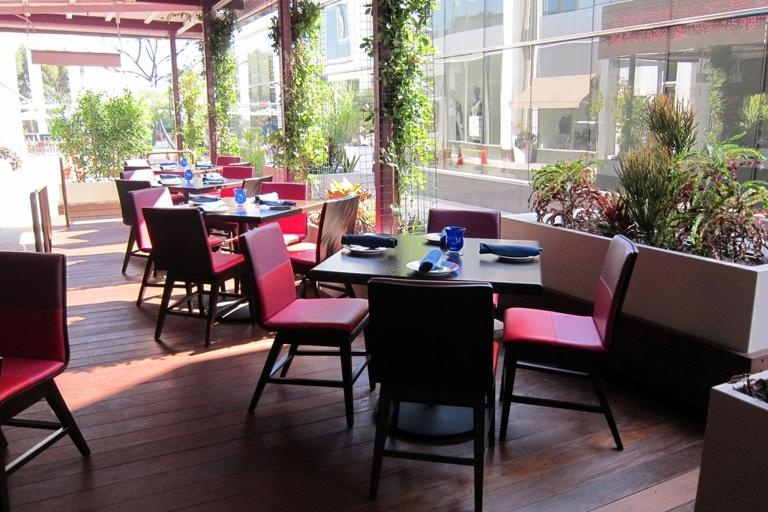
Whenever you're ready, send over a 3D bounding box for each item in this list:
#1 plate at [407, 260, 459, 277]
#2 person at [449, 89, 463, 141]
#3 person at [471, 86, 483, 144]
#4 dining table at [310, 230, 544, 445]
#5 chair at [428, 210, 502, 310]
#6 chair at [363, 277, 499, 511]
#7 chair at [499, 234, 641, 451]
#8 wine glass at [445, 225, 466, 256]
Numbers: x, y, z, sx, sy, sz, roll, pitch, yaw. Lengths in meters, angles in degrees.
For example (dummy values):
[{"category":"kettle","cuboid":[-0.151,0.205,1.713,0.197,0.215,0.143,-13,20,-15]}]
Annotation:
[{"category":"plate","cuboid":[0.296,0.080,3.170,0.159,0.028,0.158,6,16,19]},{"category":"person","cuboid":[1.253,-2.397,8.904,0.226,0.835,0.145,-1,15,7]},{"category":"person","cuboid":[1.566,-2.372,8.781,0.141,0.886,0.312,-14,18,-36]},{"category":"dining table","cuboid":[0.322,0.472,3.577,1.351,0.820,1.351,1,13,11]},{"category":"chair","cuboid":[0.679,-0.009,4.366,0.717,0.965,0.706,2,7,2]},{"category":"chair","cuboid":[0.280,0.690,2.993,0.708,1.272,0.691,0,15,11]},{"category":"chair","cuboid":[1.136,0.524,3.280,0.745,1.253,0.581,1,15,15]},{"category":"wine glass","cuboid":[0.475,-0.102,3.580,0.179,0.180,0.171,2,13,0]}]
